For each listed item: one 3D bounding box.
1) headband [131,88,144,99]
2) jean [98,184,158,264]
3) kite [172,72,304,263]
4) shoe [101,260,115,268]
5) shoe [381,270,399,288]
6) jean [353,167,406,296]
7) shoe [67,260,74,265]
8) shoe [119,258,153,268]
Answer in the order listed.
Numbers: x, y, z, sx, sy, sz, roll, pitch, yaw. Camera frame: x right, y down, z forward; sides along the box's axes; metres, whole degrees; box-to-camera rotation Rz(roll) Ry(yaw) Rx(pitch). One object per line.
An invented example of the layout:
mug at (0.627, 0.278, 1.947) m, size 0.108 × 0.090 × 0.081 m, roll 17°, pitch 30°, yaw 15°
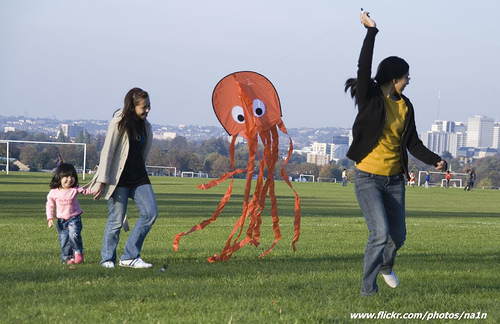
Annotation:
headband at (-2.018, -1.224, 15.778) m, size 0.219 × 0.173 × 0.096 m, roll 2°, pitch 0°, yaw 21°
jean at (-2.203, 1.146, 15.905) m, size 0.999 × 1.393 × 0.364 m, roll 1°, pitch 0°, yaw -10°
kite at (0.031, 0.090, 16.718) m, size 2.303 × 3.333 × 1.535 m, roll -7°, pitch 23°, yaw -10°
shoe at (-2.568, 1.870, 15.838) m, size 0.212 × 0.101 × 0.093 m, roll 8°, pitch 0°, yaw 3°
shoe at (2.376, 1.954, 14.741) m, size 0.161 × 0.334 × 0.134 m, roll -34°, pitch 4°, yaw 17°
jean at (2.159, 1.166, 14.515) m, size 0.891 × 2.132 × 0.405 m, roll 1°, pitch 0°, yaw -5°
shoe at (-3.283, 1.854, 15.993) m, size 0.113 × 0.071 × 0.154 m, roll 1°, pitch 1°, yaw -8°
shoe at (-2.062, 1.845, 15.808) m, size 0.563 × 0.237 × 0.207 m, roll 1°, pitch -1°, yaw 5°
